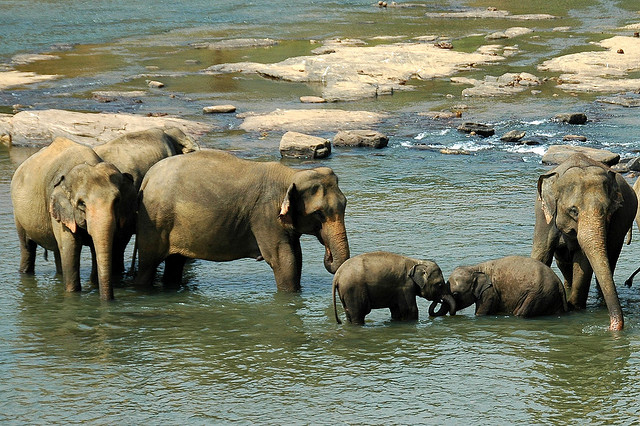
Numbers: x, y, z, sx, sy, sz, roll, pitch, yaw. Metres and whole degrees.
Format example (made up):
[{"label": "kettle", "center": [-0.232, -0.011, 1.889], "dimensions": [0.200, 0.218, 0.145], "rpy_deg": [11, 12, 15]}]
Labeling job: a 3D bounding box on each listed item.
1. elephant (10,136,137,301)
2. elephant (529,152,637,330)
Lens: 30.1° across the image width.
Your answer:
[{"label": "elephant", "center": [-4.479, 0.135, 21.776], "dimensions": [2.287, 2.763, 1.144], "rpy_deg": [7, 18, 44]}, {"label": "elephant", "center": [4.555, 0.445, 20.695], "dimensions": [1.753, 2.979, 1.745], "rpy_deg": [-3, 13, 10]}]
